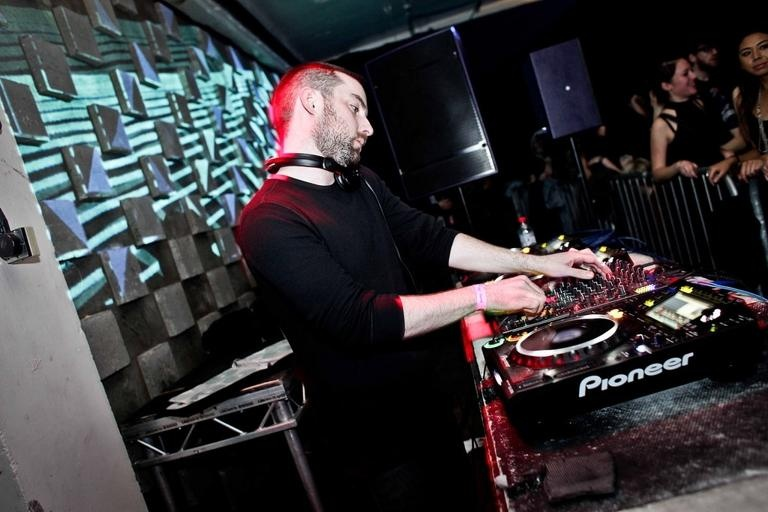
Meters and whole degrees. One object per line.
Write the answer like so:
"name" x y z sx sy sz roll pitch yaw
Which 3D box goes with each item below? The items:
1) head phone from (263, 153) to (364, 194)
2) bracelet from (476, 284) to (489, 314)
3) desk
"head phone" -0.282 -0.353 2.008 0.412 0.132 0.365 1 12 -38
"bracelet" 0.326 0.148 1.693 0.044 0.073 0.046 -13 5 10
"desk" -0.709 0.756 2.346 0.774 0.685 0.726 -30 -9 -6
